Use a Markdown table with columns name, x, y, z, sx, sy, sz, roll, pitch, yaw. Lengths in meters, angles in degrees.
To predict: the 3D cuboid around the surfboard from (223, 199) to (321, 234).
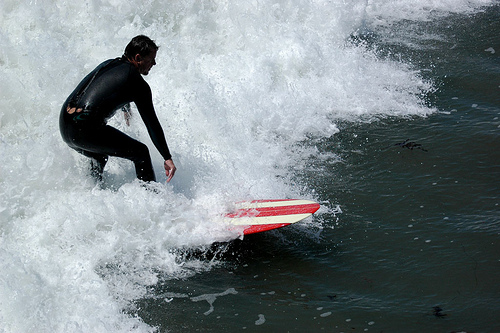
| name | x | y | z | sx | sy | sz | roll | pitch | yaw |
| --- | --- | --- | --- | --- | --- | --- | --- | --- | --- |
| surfboard | 0.205 | 0.561 | 7.786 | 1.836 | 0.537 | 0.238 | 0 | 26 | -45 |

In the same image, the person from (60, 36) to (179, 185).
| name | x | y | z | sx | sy | sz | roll | pitch | yaw |
| --- | --- | --- | --- | --- | --- | --- | --- | --- | --- |
| person | -1.820 | -0.689 | 8.027 | 1.456 | 2.162 | 1.078 | -12 | 52 | -34 |
